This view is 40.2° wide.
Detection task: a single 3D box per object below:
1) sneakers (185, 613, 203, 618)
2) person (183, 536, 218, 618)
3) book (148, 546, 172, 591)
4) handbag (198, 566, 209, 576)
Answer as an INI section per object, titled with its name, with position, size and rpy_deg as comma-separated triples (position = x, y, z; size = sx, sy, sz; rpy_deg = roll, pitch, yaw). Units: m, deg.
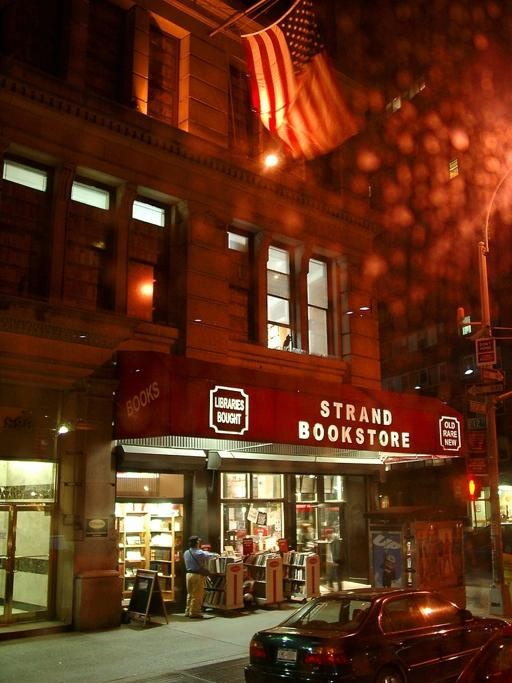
[sneakers]
position = -1.234, 5.418, 13.816
size = 0.315, 0.134, 0.107
rpy_deg = 1, -6, -7
[person]
position = -1.162, 4.680, 13.857
size = 0.542, 1.565, 0.689
rpy_deg = 3, -11, -4
[book]
position = -2.081, 4.918, 15.198
size = 0.331, 0.853, 0.975
rpy_deg = 8, -12, -28
[handbag]
position = -1.022, 4.509, 13.681
size = 0.155, 0.177, 0.259
rpy_deg = -3, -12, 24
